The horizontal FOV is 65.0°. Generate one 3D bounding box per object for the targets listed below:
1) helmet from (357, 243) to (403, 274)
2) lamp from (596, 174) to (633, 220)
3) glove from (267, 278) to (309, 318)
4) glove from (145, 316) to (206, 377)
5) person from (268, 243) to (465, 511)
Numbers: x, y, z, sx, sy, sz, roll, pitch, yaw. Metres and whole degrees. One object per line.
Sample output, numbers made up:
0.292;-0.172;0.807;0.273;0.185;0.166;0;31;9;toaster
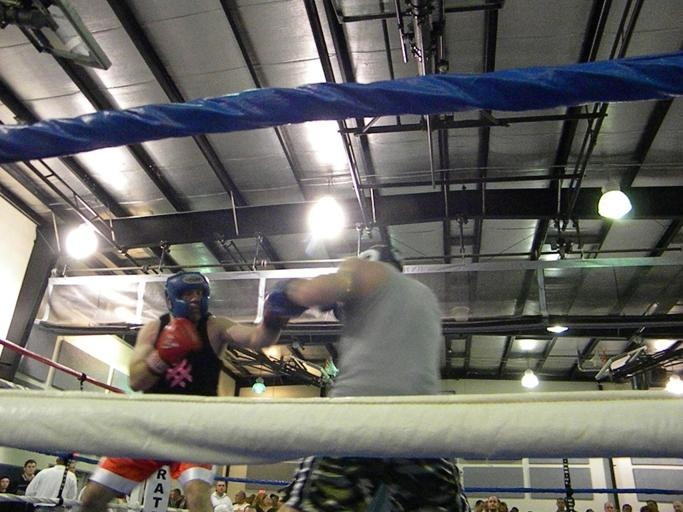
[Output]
0.131;0.015;2.001;0.107;0.136;0.127;43;-61;6;helmet
3.121;-0.658;6.154;0.313;0.562;0.370;-5;-38;19;lamp
-0.196;0.150;1.866;0.172;0.099;0.149;-9;-12;2;glove
-0.664;0.360;2.188;0.182;0.247;0.085;14;-38;-7;glove
0.068;0.387;1.820;0.520;0.929;0.587;-9;-40;24;person
